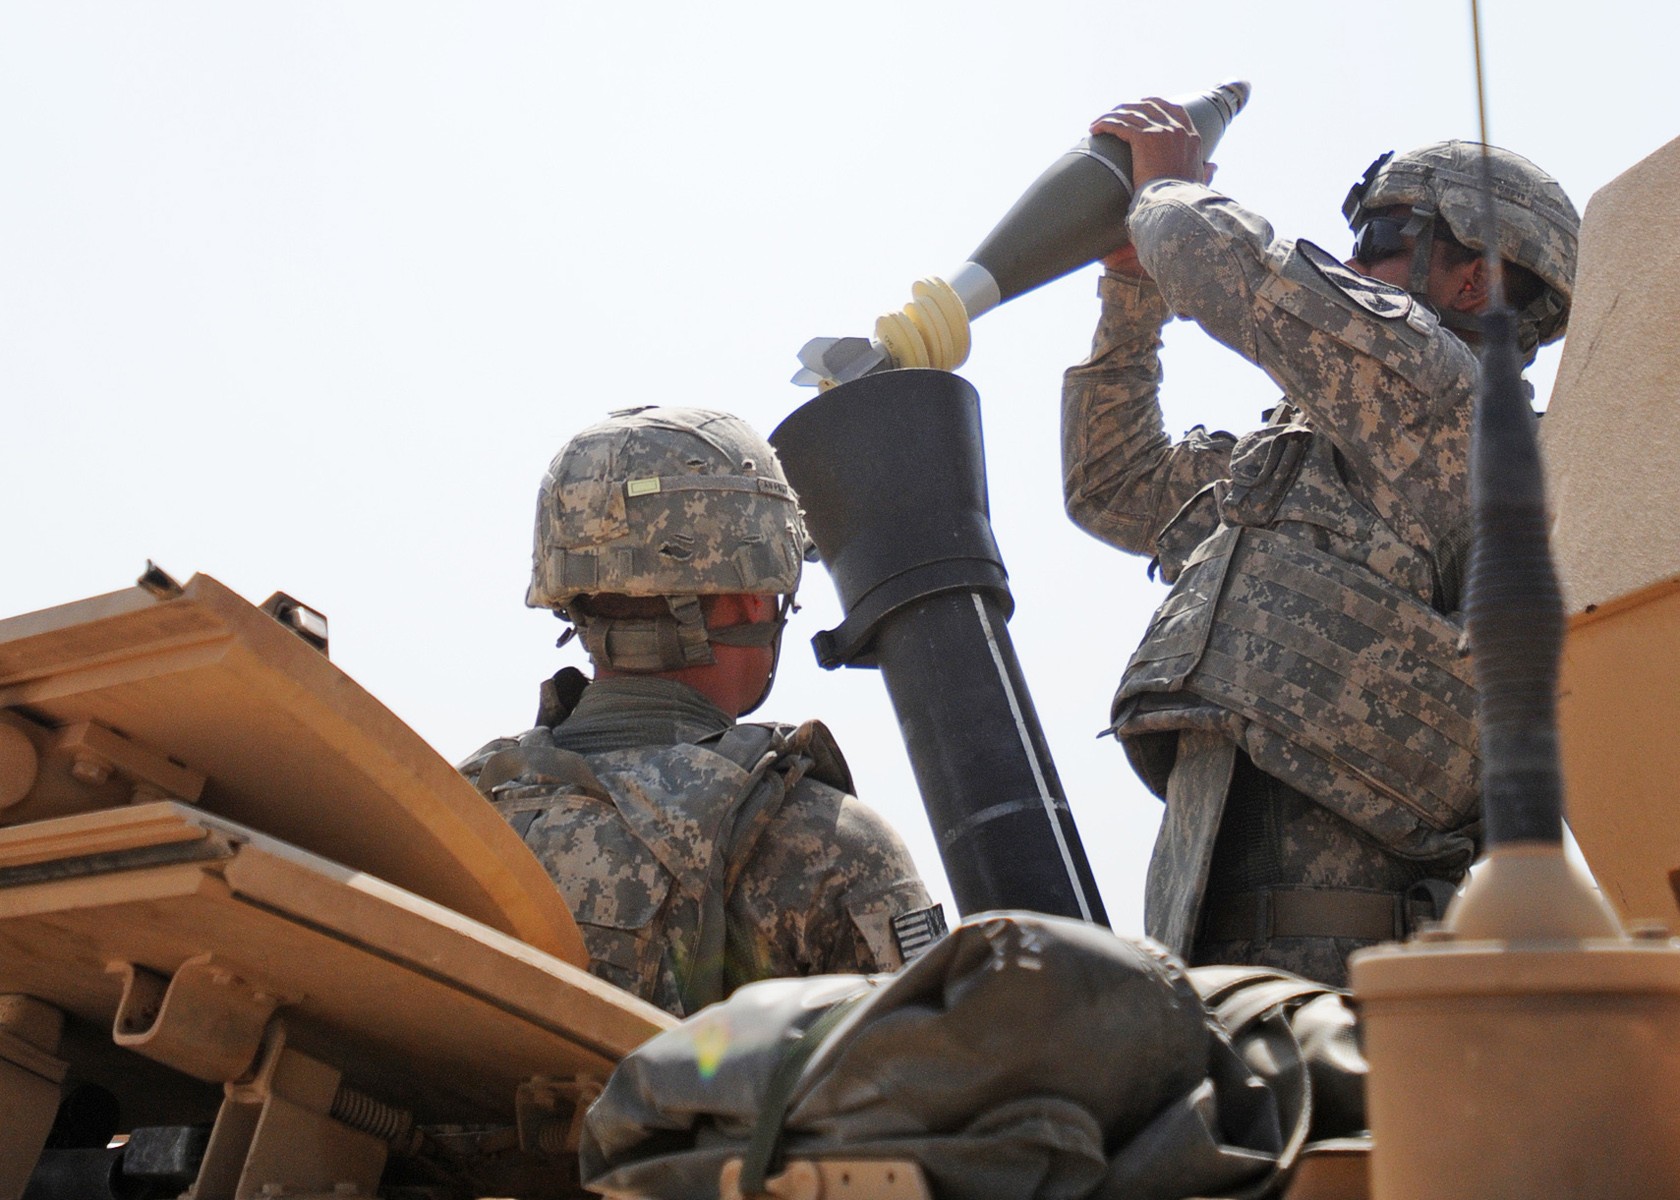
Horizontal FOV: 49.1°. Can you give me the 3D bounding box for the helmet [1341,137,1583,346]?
[{"bbox_3d":[1.527,-0.844,4.302,0.415,0.402,0.477,15,7,-39],"label":"helmet"}]
